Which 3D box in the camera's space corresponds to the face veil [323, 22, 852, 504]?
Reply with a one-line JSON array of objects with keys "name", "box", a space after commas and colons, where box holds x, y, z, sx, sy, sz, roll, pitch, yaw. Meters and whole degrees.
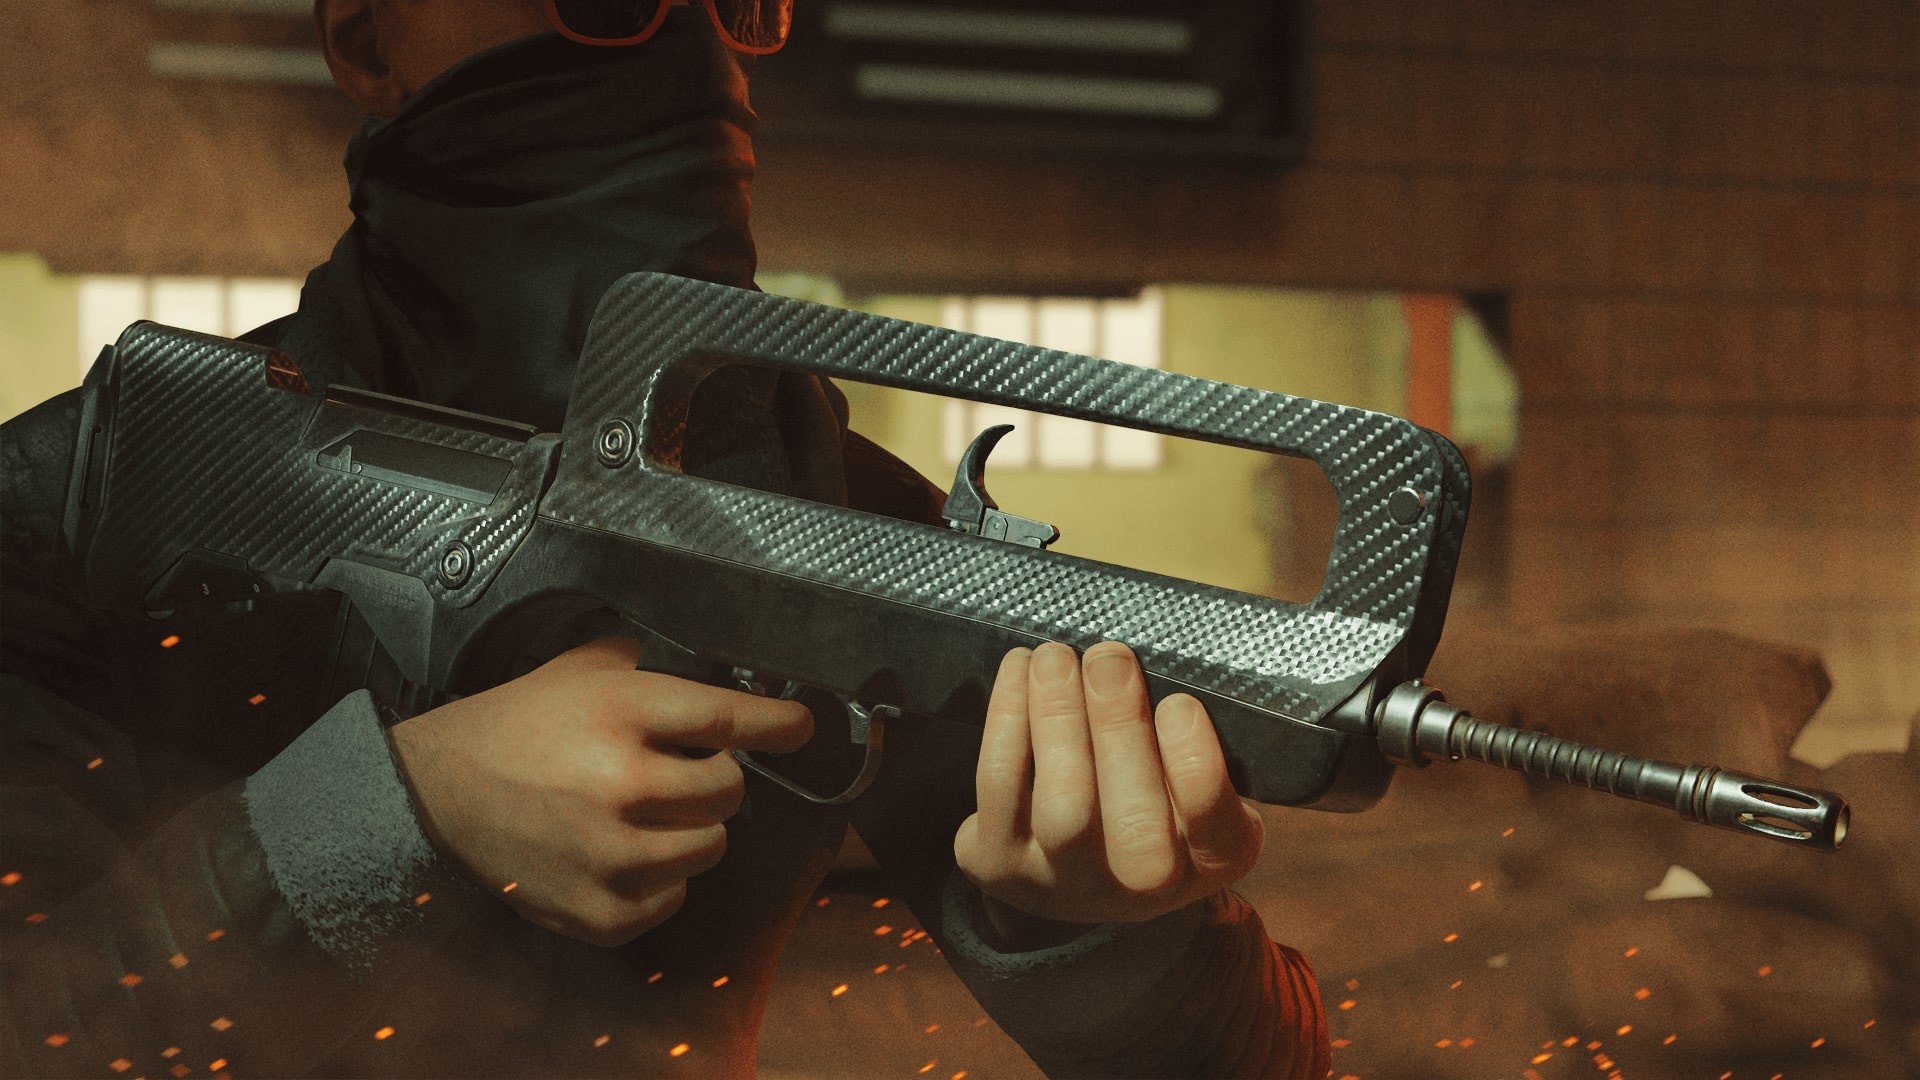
[{"name": "face veil", "box": [-0.688, -0.459, 3.347, 0.837, 0.709, 0.688, -5, -13, 41]}]
